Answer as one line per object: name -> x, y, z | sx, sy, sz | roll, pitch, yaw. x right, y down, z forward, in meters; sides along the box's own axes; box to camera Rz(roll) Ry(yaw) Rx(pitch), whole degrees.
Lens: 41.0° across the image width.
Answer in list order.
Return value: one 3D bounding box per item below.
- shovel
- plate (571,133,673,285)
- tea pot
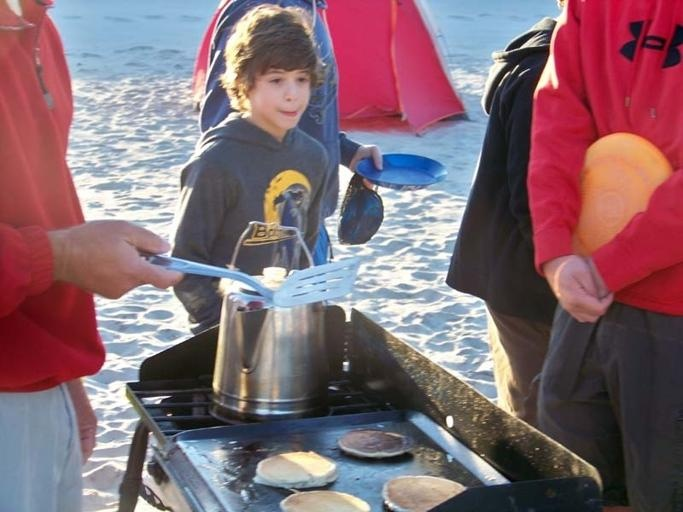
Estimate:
shovel -> -0.216, 0.052, 1.939 | 0.522, 0.074, 0.131 | 3, 23, -11
plate -> 0.683, -0.160, 2.346 | 0.088, 0.349, 0.321 | -4, 50, -44
tea pot -> -0.215, 0.159, 2.125 | 0.300, 0.411, 0.376 | -14, 22, -35
